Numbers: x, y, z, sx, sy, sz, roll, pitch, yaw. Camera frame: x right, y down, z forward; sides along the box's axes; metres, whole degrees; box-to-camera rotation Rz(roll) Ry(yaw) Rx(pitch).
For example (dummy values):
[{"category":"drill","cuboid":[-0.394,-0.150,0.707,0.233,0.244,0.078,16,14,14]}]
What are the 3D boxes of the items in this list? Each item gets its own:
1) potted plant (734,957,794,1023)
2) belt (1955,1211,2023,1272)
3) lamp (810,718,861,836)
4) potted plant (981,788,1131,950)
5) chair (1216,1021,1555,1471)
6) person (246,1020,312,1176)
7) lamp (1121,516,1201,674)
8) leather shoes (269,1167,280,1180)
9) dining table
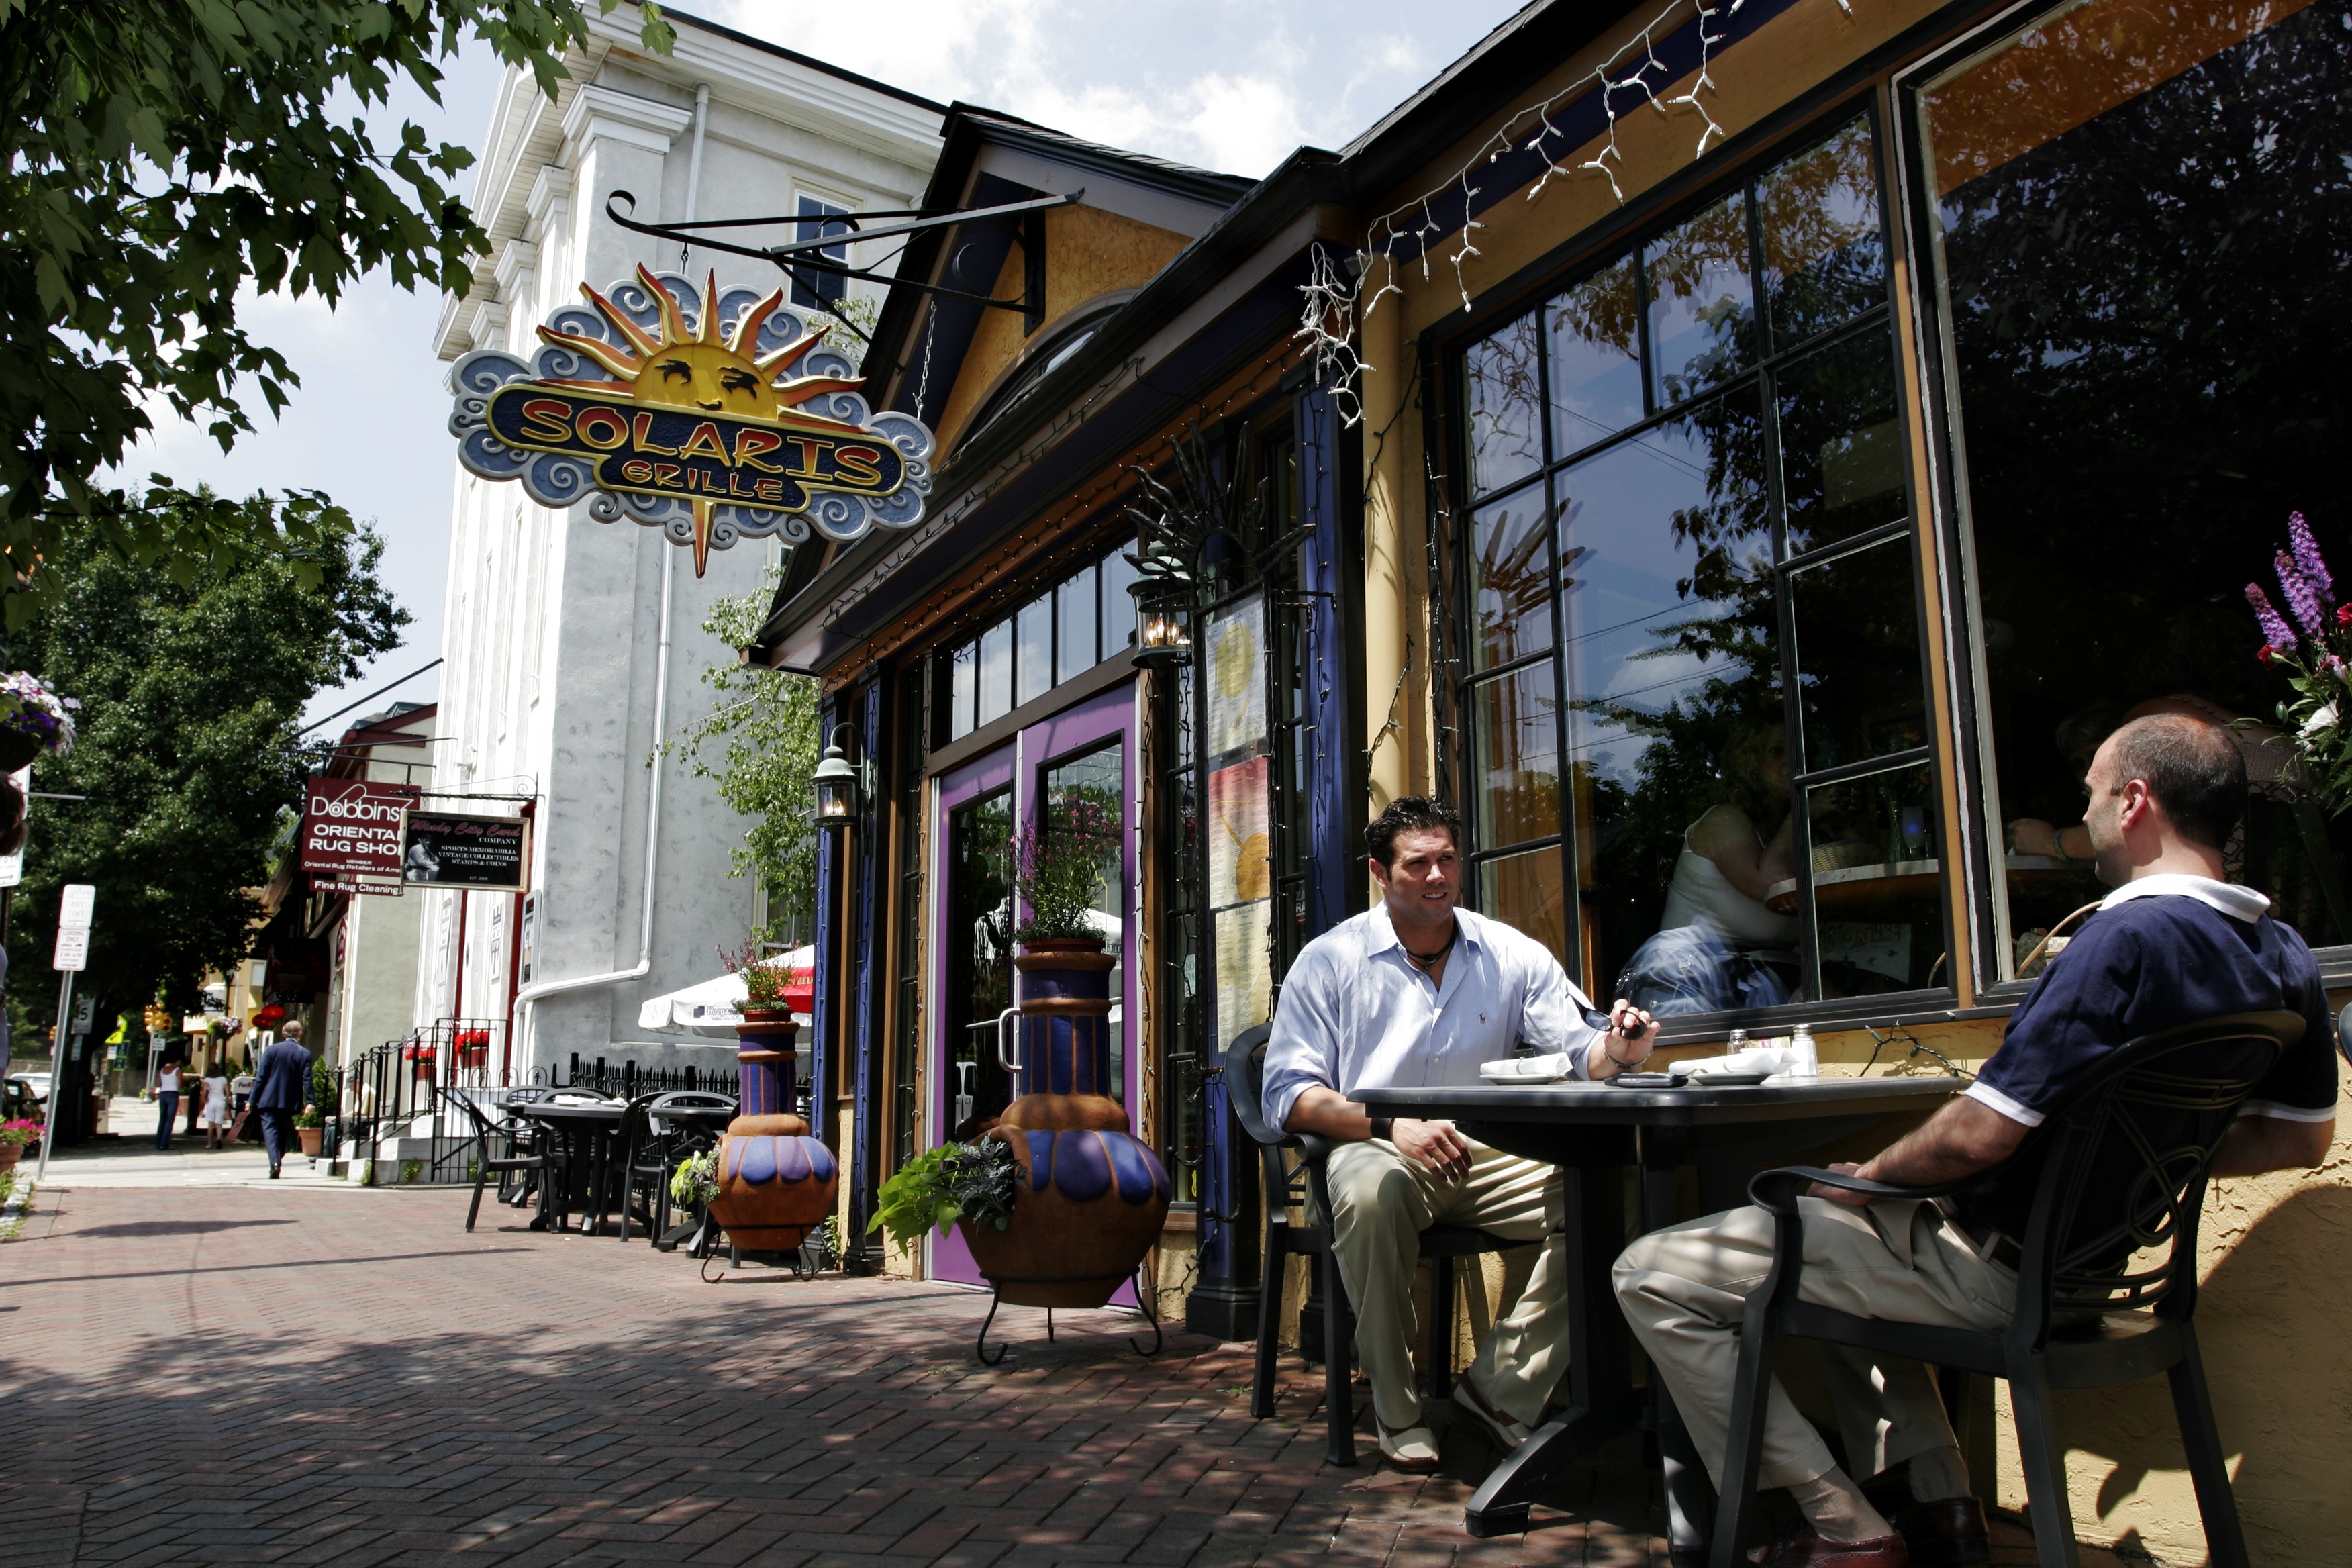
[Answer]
[{"category":"potted plant","cuboid":[-2.587,1.311,10.936,0.380,0.441,0.388,-1,-5,44]},{"category":"belt","cuboid":[1.894,1.059,3.991,0.107,0.038,0.078,35,1,37]},{"category":"lamp","cuboid":[-2.131,-0.016,10.859,0.266,0.677,0.603,1,-13,-12]},{"category":"potted plant","cuboid":[-0.567,0.421,8.620,0.308,0.885,0.528,18,-28,-35]},{"category":"chair","cuboid":[0.396,1.484,5.687,1.122,1.702,1.137,9,-17,-34]},{"category":"person","cuboid":[-11.355,3.976,21.812,0.548,1.884,0.566,-6,-14,32]},{"category":"lamp","cuboid":[-0.050,-0.919,7.967,0.295,0.785,0.674,-2,-12,-1]},{"category":"leather shoes","cuboid":[-10.897,4.711,20.822,0.126,0.123,0.111,-4,-8,5]},{"category":"dining table","cuboid":[1.355,1.133,4.833,1.330,1.272,1.349,1,-3,-35]}]
